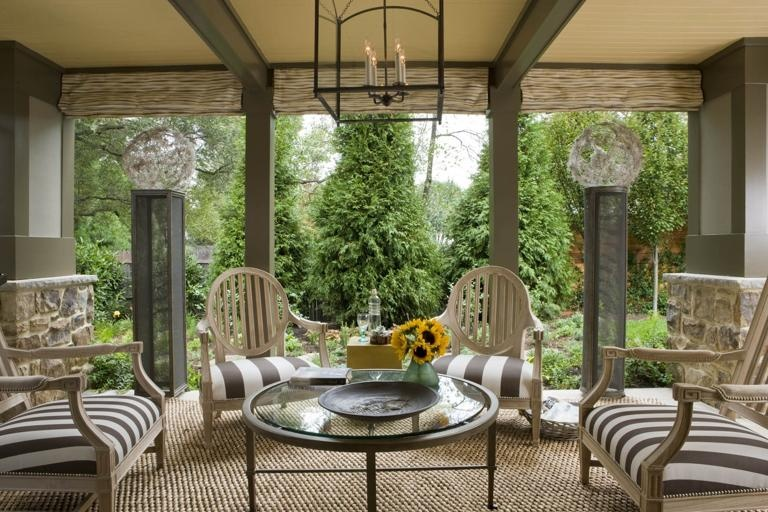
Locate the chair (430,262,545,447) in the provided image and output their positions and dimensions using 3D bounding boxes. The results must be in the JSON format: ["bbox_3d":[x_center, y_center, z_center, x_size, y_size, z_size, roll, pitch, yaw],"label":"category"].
[{"bbox_3d":[0.741,0.750,4.606,1.017,1.293,0.928,-1,-2,5],"label":"chair"}]

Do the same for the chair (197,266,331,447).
[{"bbox_3d":[-1.030,0.770,4.691,0.982,1.220,0.862,0,0,-27],"label":"chair"}]

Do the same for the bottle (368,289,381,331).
[{"bbox_3d":[-0.087,0.485,4.951,0.090,0.274,0.223,-1,2,6],"label":"bottle"}]

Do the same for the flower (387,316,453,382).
[{"bbox_3d":[0.251,0.673,3.899,0.376,0.419,0.248,-7,-10,19],"label":"flower"}]
